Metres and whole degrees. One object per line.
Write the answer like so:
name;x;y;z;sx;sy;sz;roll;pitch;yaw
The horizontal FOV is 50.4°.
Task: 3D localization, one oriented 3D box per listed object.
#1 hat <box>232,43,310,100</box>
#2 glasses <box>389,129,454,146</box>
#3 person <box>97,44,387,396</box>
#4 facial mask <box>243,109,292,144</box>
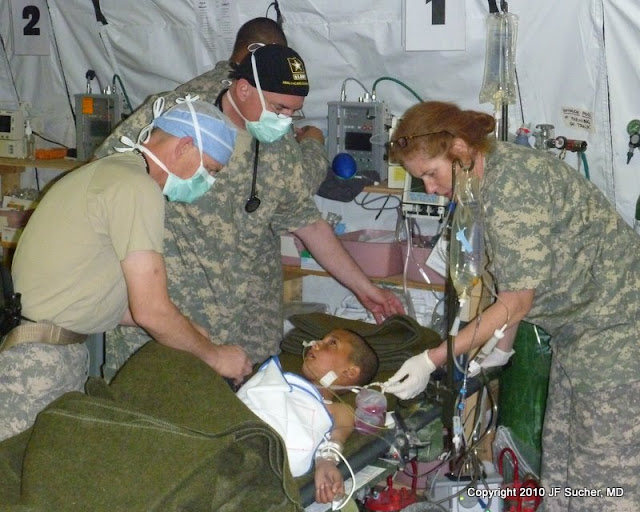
hat;-0.191;-0.748;2.752;0.255;0.137;0.198;15;17;32
glasses;0.349;-0.415;2.390;0.241;0.075;0.060;11;14;28
person;-0.292;-0.158;2.932;0.747;1.759;1.128;38;41;24
facial mask;-0.215;-0.542;2.813;0.139;0.103;0.126;45;31;21
